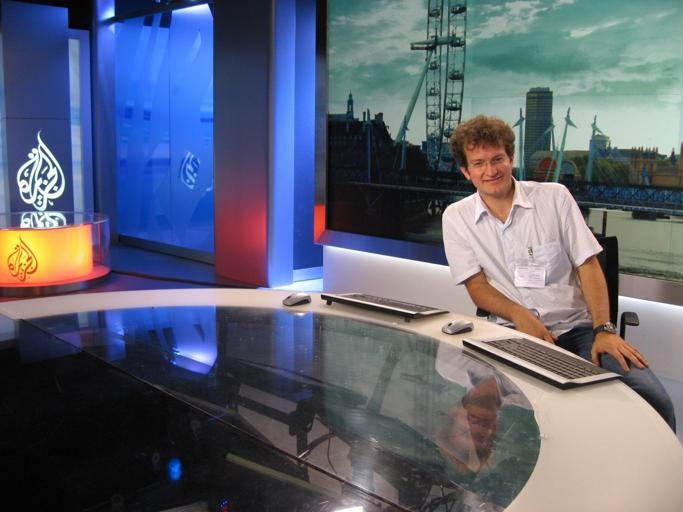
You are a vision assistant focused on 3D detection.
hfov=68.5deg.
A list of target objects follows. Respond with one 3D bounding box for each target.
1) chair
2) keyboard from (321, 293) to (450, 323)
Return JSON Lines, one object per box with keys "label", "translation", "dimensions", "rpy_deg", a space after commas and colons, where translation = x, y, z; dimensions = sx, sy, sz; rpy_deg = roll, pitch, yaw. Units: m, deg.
{"label": "chair", "translation": [1.316, 0.167, 3.081], "dimensions": [0.589, 1.070, 0.710], "rpy_deg": [12, -12, -43]}
{"label": "keyboard", "translation": [0.163, 0.197, 2.137], "dimensions": [0.551, 0.049, 0.197], "rpy_deg": [8, 17, 33]}
